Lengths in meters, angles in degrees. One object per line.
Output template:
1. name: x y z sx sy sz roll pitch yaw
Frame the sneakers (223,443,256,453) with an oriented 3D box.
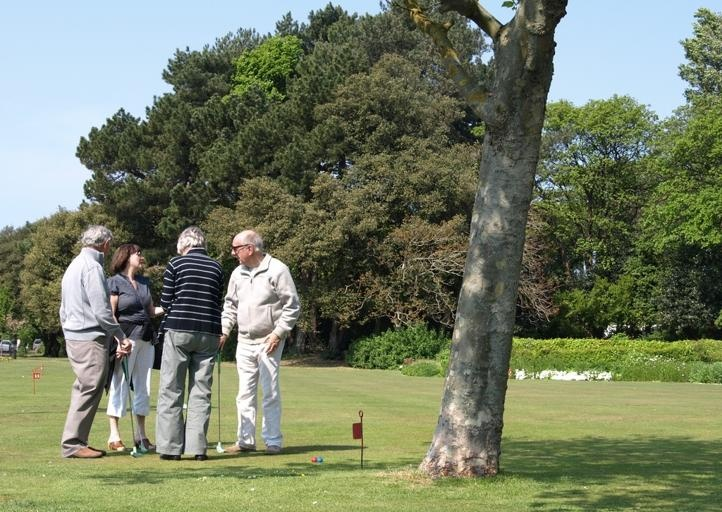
1. sneakers: -1.996 3.145 14.322 0.514 0.233 0.188 4 -6 -2

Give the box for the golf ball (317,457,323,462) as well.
1. golf ball: -0.630 3.142 13.436 0.057 0.064 0.071 -18 -27 10

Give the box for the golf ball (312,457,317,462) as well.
1. golf ball: -0.725 3.134 13.420 0.076 0.070 0.169 1 -10 -3

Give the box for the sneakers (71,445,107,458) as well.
1. sneakers: -4.238 3.065 13.580 0.307 0.133 0.219 -1 -3 -1

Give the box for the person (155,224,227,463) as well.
1. person: -2.728 1.344 13.984 0.983 3.757 0.441 3 -8 -16

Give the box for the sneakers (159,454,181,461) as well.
1. sneakers: -2.982 3.138 13.631 0.329 0.096 0.184 2 -10 -7

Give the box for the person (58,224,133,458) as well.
1. person: -4.306 1.311 13.887 0.938 3.693 0.440 3 -8 -19
